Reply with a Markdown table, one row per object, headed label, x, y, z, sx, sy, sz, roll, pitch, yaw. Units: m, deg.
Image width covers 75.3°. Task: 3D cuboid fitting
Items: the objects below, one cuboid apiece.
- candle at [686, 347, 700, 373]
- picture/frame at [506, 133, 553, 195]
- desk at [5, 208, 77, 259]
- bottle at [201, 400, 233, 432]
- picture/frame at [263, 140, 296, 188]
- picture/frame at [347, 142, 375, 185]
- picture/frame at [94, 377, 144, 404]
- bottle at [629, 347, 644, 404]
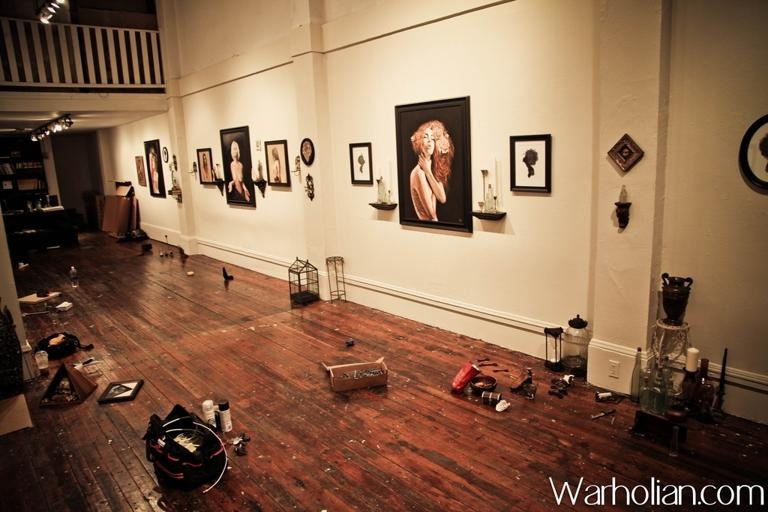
| label | x | y | z | sx | sy | sz | roll | pitch | yaw |
| --- | --- | --- | --- | --- | --- | --- | --- | --- | --- |
| candle | 3.224 | 1.099 | 5.185 | 0.107 | 0.284 | 0.101 | 7 | 14 | 28 |
| picture/frame | 1.880 | -1.180 | 6.321 | 0.715 | 0.997 | 0.101 | 6 | 12 | 39 |
| desk | -9.660 | -0.685 | 13.944 | 1.556 | 1.108 | 1.875 | 8 | 15 | 32 |
| bottle | -1.888 | 1.786 | 5.644 | 0.327 | 0.345 | 0.231 | -1 | 12 | -4 |
| picture/frame | -2.037 | -1.832 | 9.785 | 0.076 | 1.116 | 1.009 | -17 | 11 | -39 |
| picture/frame | -0.362 | -1.549 | 8.245 | 0.034 | 0.786 | 0.642 | -12 | 16 | -35 |
| picture/frame | -3.407 | 1.745 | 6.386 | 0.545 | 0.058 | 0.560 | -2 | 13 | 0 |
| bottle | 2.898 | 1.361 | 5.679 | 0.104 | 0.634 | 0.136 | 4 | 13 | 16 |
